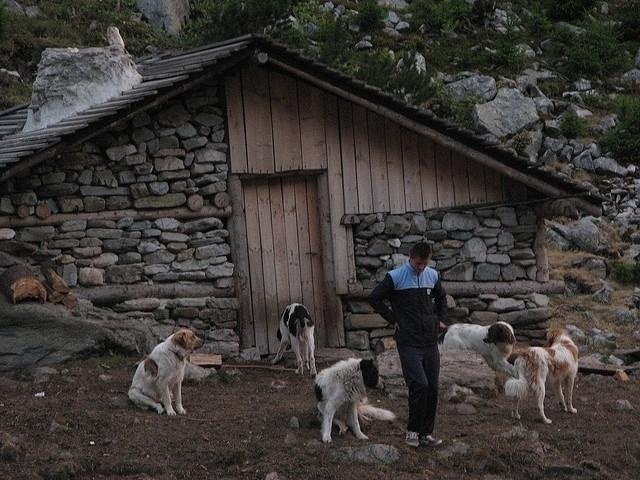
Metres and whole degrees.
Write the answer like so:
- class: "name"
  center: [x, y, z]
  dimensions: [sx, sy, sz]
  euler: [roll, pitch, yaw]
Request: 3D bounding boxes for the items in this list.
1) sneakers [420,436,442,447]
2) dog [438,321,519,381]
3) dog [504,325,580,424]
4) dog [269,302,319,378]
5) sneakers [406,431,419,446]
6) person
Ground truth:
- class: "sneakers"
  center: [1.637, 2.985, 9.432]
  dimensions: [0.337, 0.183, 0.140]
  euler: [-1, 5, 6]
- class: "dog"
  center: [2.922, 1.874, 11.866]
  dimensions: [1.546, 0.873, 0.590]
  euler: [7, 11, 28]
- class: "dog"
  center: [3.771, 2.210, 10.398]
  dimensions: [1.642, 1.397, 0.562]
  euler: [-6, 3, -31]
- class: "dog"
  center: [-0.448, 1.987, 12.717]
  dimensions: [0.679, 1.333, 1.386]
  euler: [-6, 16, -31]
- class: "sneakers"
  center: [1.382, 2.945, 9.418]
  dimensions: [0.205, 0.216, 0.143]
  euler: [3, 13, 5]
- class: "person"
  center: [1.381, 1.523, 9.542]
  dimensions: [1.026, 2.921, 0.962]
  euler: [3, 12, 7]
